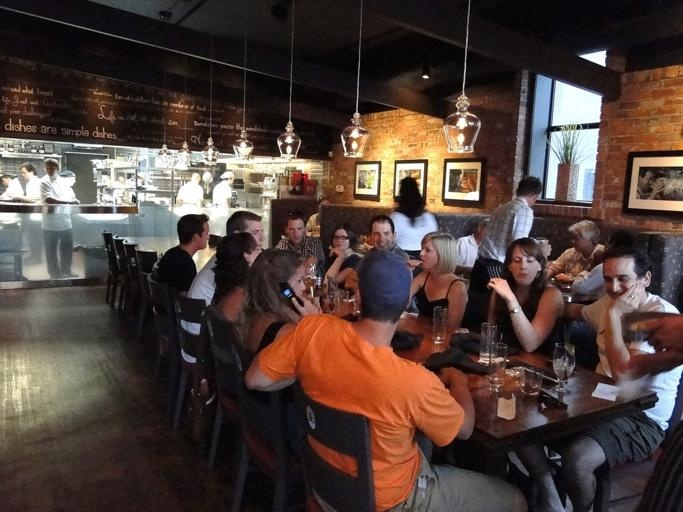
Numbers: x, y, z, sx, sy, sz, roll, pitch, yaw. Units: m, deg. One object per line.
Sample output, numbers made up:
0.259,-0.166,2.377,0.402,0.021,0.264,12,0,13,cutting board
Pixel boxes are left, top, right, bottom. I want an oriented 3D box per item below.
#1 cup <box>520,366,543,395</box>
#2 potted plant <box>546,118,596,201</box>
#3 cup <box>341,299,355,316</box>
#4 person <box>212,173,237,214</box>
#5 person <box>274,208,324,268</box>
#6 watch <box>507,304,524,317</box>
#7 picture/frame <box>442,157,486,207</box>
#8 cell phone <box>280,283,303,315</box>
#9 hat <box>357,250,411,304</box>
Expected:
0.866,0.581,2.261,0.095,0.114,0.112,0,-6,16,cup
2.835,-1.169,6.134,0.364,0.987,0.887,0,9,-8,potted plant
0.035,0.377,3.521,0.085,0.160,0.083,1,-1,0,cup
-2.274,-1.305,9.488,0.386,0.739,1.754,0,9,-13,person
-0.377,-0.145,4.766,0.550,0.746,0.535,-2,19,-2,person
1.000,0.320,2.821,0.064,0.047,0.068,12,-39,-32,watch
1.874,-1.129,7.420,0.052,0.749,0.729,-3,-6,-35,picture/frame
-0.269,0.215,2.510,0.034,0.096,0.160,-34,37,-7,cell phone
0.161,0.055,1.893,0.171,0.189,0.204,-1,25,3,hat
